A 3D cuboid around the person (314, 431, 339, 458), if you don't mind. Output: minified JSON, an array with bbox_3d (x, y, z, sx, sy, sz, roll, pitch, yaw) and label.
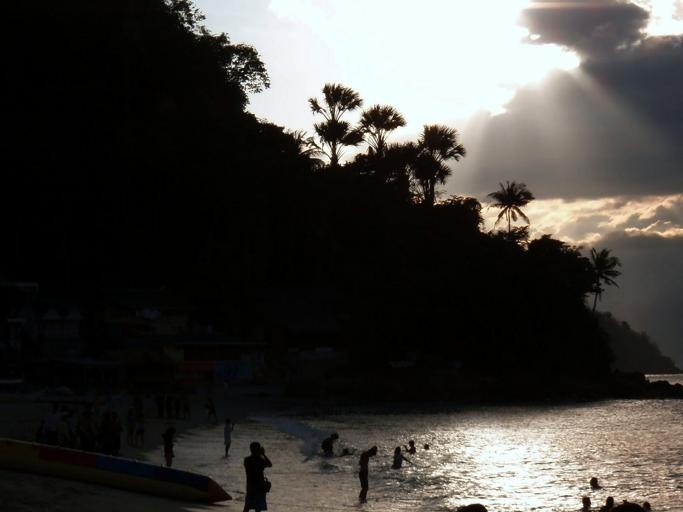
[{"bbox_3d":[-0.445,9.823,51.969,0.255,1.090,1.039,12,-2,-40],"label":"person"}]

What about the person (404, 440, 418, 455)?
[{"bbox_3d":[3.710,9.967,52.304,0.585,0.802,0.298,2,4,-13],"label":"person"}]

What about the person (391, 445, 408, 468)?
[{"bbox_3d":[2.944,10.112,50.340,0.935,1.193,0.705,2,12,6],"label":"person"}]
